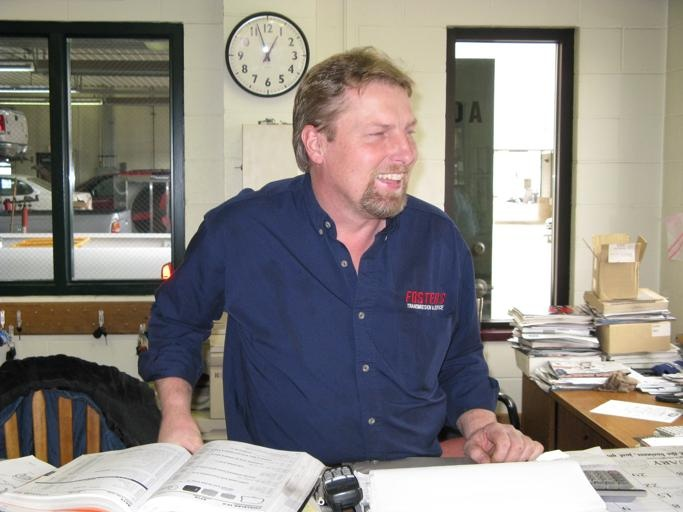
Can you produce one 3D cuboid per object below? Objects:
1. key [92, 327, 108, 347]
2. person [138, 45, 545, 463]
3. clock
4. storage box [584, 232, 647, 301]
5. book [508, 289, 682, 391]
[{"bbox_3d":[-1.561,0.525,4.350,0.093,0.136,0.115,-5,5,-22],"label":"key"},{"bbox_3d":[-0.024,-0.004,2.285,1.242,1.310,0.639,0,11,-14],"label":"person"},{"bbox_3d":[-0.435,-1.178,3.993,0.489,0.539,0.049,0,-8,-4],"label":"clock"},{"bbox_3d":[1.375,0.052,3.373,0.301,0.329,0.297,0,1,4],"label":"storage box"},{"bbox_3d":[1.256,0.413,3.305,0.568,0.225,0.509,1,2,-9],"label":"book"}]
